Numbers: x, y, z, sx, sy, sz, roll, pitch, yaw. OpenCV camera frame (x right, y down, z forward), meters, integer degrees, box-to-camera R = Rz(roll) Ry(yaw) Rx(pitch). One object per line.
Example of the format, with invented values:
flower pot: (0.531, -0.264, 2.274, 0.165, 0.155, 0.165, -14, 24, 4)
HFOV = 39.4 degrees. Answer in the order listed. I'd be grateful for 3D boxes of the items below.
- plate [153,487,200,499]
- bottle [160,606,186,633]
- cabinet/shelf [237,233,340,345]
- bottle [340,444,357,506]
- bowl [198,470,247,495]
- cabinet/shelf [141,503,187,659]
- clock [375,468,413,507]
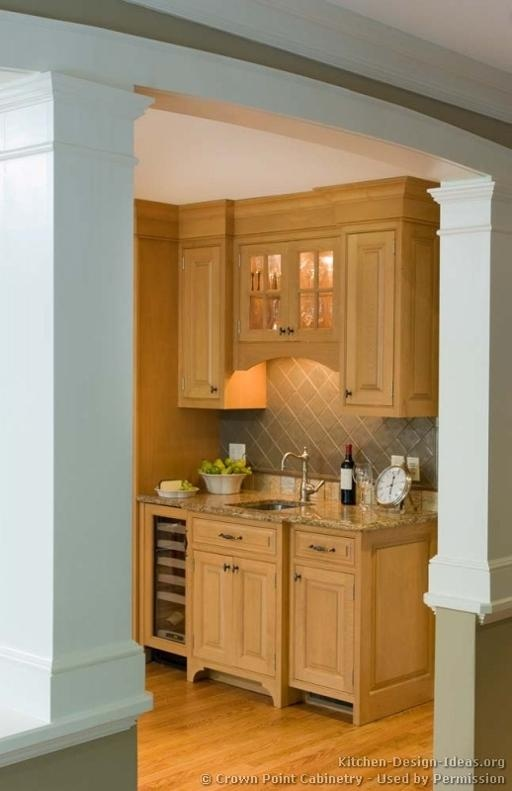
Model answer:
plate: (-0.519, 0.609, 4.485, 0.288, 0.066, 0.213, -1, -3, 6)
bottle: (-0.509, 1.396, 4.448, 0.123, 0.168, 0.040, 3, -5, 35)
cabinet/shelf: (0.211, -0.607, 4.305, 0.627, 0.553, 0.204, -1, -2, 9)
bottle: (0.535, 0.463, 4.155, 0.086, 0.348, 0.169, -1, -3, 7)
bowl: (-0.216, 0.569, 4.631, 0.274, 0.147, 0.160, 0, -3, -7)
cabinet/shelf: (-0.583, 1.126, 4.446, 0.156, 0.918, 0.496, 3, -4, -43)
clock: (0.746, 0.491, 3.921, 0.055, 0.205, 0.204, 3, -4, -43)
